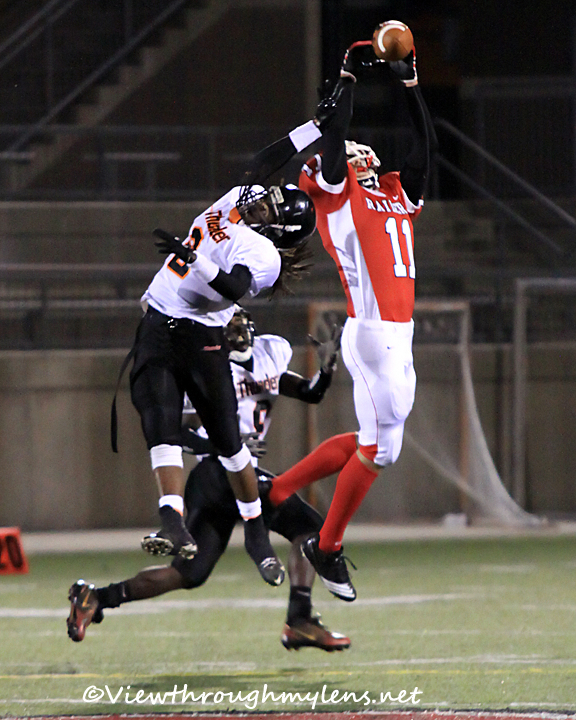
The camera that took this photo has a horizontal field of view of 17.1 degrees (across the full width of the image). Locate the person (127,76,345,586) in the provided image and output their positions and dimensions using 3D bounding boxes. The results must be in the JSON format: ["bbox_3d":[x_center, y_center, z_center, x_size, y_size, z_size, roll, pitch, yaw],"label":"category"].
[{"bbox_3d":[-0.341,-0.041,8.810,0.579,2.248,1.045,2,5,43],"label":"person"}]

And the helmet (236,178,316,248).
[{"bbox_3d":[-0.044,-0.662,8.812,0.317,0.264,0.258,2,7,-2],"label":"helmet"}]

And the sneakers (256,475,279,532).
[{"bbox_3d":[-0.097,0.685,9.287,0.154,0.215,0.078,4,-12,-20],"label":"sneakers"}]

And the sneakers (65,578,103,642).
[{"bbox_3d":[-0.960,1.206,9.164,0.196,0.119,0.356,-2,17,-3],"label":"sneakers"}]

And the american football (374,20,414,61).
[{"bbox_3d":[0.481,-1.474,8.868,0.185,0.175,0.213,-2,4,4],"label":"american football"}]

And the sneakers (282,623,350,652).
[{"bbox_3d":[0.131,1.282,8.935,0.343,0.177,0.128,0,-5,2],"label":"sneakers"}]
